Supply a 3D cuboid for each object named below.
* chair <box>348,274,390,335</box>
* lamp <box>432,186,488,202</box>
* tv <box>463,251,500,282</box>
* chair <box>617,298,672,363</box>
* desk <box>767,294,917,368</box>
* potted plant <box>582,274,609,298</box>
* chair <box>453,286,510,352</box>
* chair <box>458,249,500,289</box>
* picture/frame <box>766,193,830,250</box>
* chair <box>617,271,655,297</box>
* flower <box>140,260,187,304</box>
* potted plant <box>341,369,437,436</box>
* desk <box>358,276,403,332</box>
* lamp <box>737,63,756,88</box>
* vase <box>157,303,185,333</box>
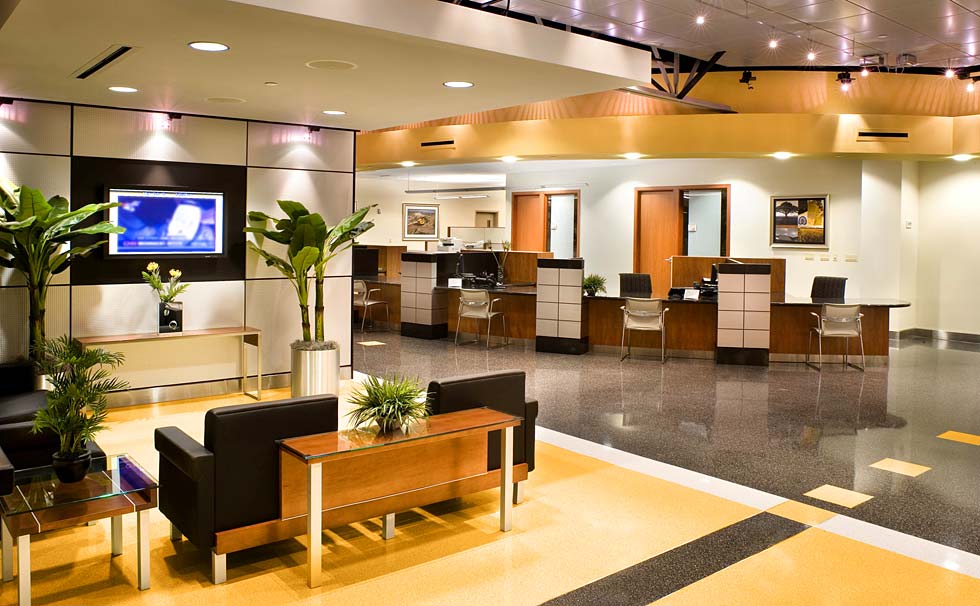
[{"bbox_3d":[-2.636,-0.026,14.697,1.189,1.407,0.977,-4,7,-36],"label":"chair"},{"bbox_3d":[-0.924,-3.341,20.527,1.717,0.554,3.143,-1,13,-7],"label":"lamp"},{"bbox_3d":[-0.217,-0.801,14.456,0.774,0.649,0.397,-1,-2,-42],"label":"tv"},{"bbox_3d":[2.754,0.416,11.732,0.813,1.157,0.808,3,14,10],"label":"chair"},{"bbox_3d":[5.890,0.546,11.496,2.168,0.885,1.242,0,1,-3],"label":"desk"},{"bbox_3d":[1.999,-0.345,12.716,0.534,0.437,0.492,-2,6,-14],"label":"potted plant"},{"bbox_3d":[-0.097,0.227,12.843,1.122,1.439,1.188,3,7,36],"label":"chair"},{"bbox_3d":[-0.267,-0.727,14.282,0.467,0.783,0.921,-11,-10,43],"label":"chair"},{"bbox_3d":[6.402,-1.692,13.646,1.307,1.171,0.096,2,2,36],"label":"picture/frame"},{"bbox_3d":[2.946,-0.355,13.338,0.618,0.536,0.559,2,-2,6],"label":"chair"},{"bbox_3d":[-4.029,-0.277,8.317,0.572,0.430,0.524,3,1,-24],"label":"flower"},{"bbox_3d":[-0.789,0.843,5.676,0.664,0.349,0.655,3,5,16],"label":"potted plant"},{"bbox_3d":[-2.443,0.039,14.897,0.695,0.755,1.229,-6,9,-34],"label":"desk"},{"bbox_3d":[4.749,-4.139,12.197,0.303,0.391,0.361,5,14,18],"label":"lamp"},{"bbox_3d":[-3.967,0.177,8.244,0.367,0.431,0.343,-1,5,-23],"label":"vase"}]
